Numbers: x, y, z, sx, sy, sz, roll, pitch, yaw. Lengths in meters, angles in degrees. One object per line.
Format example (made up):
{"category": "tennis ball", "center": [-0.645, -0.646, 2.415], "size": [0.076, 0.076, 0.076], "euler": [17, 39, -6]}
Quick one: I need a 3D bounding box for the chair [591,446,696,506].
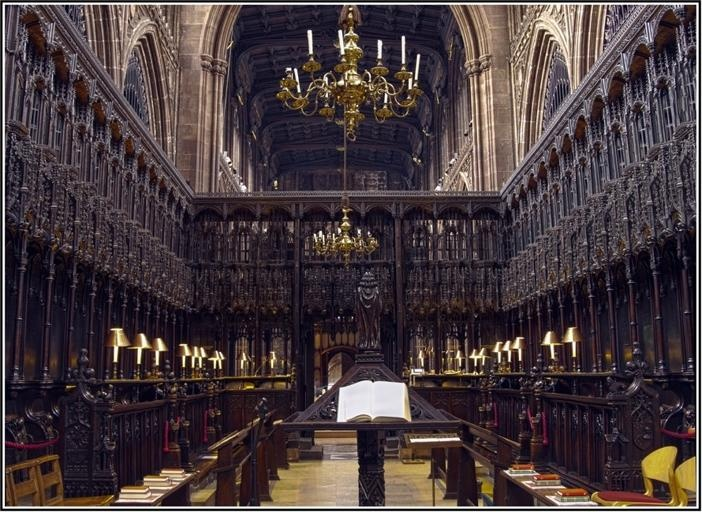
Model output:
{"category": "chair", "center": [3.901, 3.000, 9.864], "size": [0.957, 1.191, 1.143], "euler": [3, -17, 1]}
